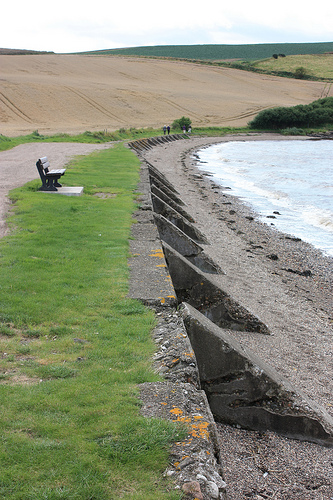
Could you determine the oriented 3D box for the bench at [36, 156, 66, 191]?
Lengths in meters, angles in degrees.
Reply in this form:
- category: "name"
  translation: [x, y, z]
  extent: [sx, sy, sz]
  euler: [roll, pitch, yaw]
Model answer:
- category: "bench"
  translation: [-3.262, -2.097, 16.467]
  extent: [0.745, 0.746, 1.322]
  euler: [-1, 8, -7]
